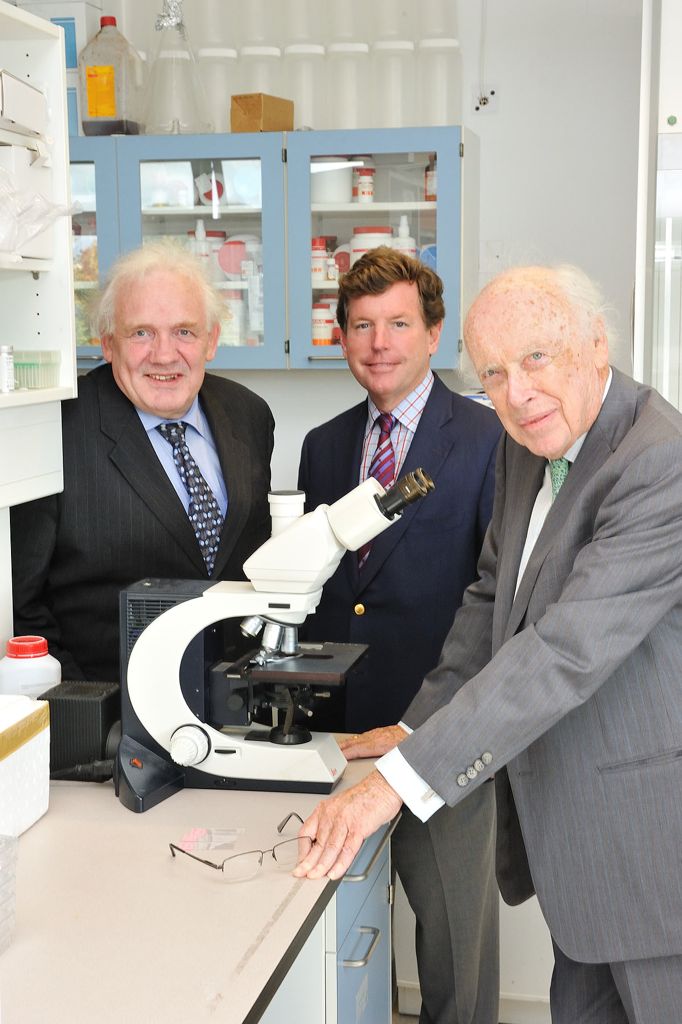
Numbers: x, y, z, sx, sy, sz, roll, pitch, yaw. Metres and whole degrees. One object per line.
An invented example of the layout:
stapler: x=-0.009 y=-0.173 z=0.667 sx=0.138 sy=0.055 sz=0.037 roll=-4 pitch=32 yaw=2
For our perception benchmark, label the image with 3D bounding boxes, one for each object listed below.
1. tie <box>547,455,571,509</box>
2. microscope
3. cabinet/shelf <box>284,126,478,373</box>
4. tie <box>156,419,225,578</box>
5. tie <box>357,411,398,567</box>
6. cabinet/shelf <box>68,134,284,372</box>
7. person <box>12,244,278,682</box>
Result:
tie: x=0.320 y=-0.053 z=1.294 sx=0.014 sy=0.054 sz=0.040 roll=7 pitch=16 yaw=-26
microscope: x=-0.088 y=0.154 z=1.366 sx=0.443 sy=0.479 sz=0.419 roll=3 pitch=8 yaw=-1
cabinet/shelf: x=0.121 y=-0.911 z=3.167 sx=0.673 sy=0.764 sz=0.323 roll=3 pitch=13 yaw=8
tie: x=-0.296 y=-0.031 z=1.817 sx=0.088 sy=0.401 sz=0.055 roll=-18 pitch=-19 yaw=-13
tie: x=0.100 y=-0.060 z=2.110 sx=0.064 sy=0.304 sz=0.138 roll=4 pitch=10 yaw=7
cabinet/shelf: x=-0.515 y=-0.826 z=3.082 sx=0.714 sy=0.871 sz=0.361 roll=-2 pitch=15 yaw=-9
person: x=-0.448 y=-0.097 z=1.846 sx=0.477 sy=0.845 sz=0.457 roll=-4 pitch=15 yaw=-29
